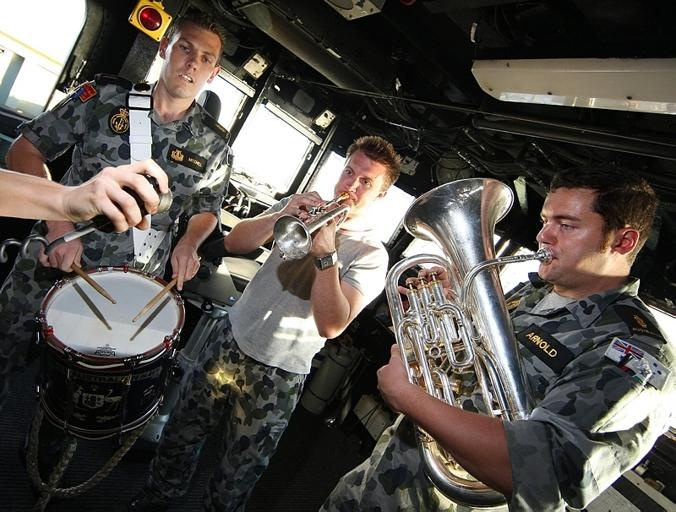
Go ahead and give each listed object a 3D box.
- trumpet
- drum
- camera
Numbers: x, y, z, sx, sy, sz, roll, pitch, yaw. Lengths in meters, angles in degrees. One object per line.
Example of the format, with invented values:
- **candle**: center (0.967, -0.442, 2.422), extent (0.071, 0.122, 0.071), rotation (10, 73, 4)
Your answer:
- **trumpet**: center (-0.184, -0.193, 2.754), extent (0.532, 0.365, 0.350), rotation (1, 10, -24)
- **drum**: center (-1.303, 0.520, 2.802), extent (0.734, 0.876, 0.668), rotation (5, 7, -1)
- **camera**: center (-0.831, -0.207, 1.981), extent (0.169, 0.203, 0.243), rotation (27, 8, 12)
